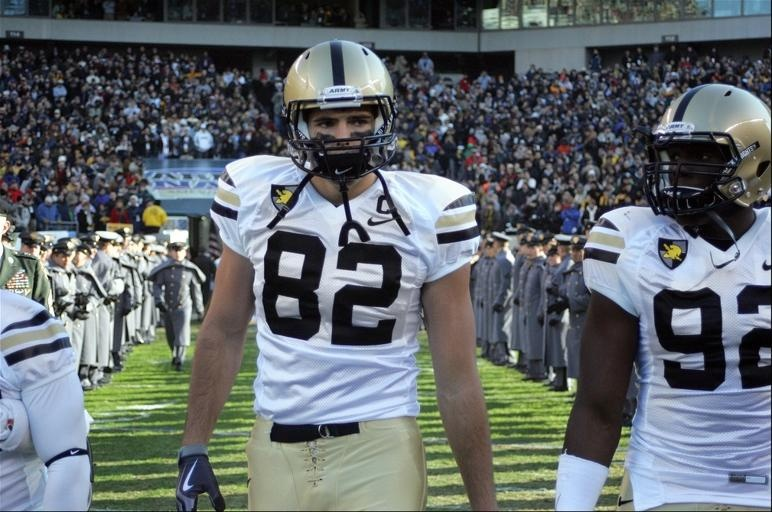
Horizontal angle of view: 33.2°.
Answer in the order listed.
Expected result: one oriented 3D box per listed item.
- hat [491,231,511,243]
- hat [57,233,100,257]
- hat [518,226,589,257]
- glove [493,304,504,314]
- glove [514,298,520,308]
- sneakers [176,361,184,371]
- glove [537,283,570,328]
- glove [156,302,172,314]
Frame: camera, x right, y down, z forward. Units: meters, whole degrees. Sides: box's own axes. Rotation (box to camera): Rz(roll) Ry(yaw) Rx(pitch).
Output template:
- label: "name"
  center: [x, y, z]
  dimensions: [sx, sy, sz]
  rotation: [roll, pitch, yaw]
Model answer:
- label: "hat"
  center: [1.628, -0.279, 18.357]
  dimensions: [0.273, 0.103, 0.282]
  rotation: [24, 4, -23]
- label: "hat"
  center: [-4.059, -0.161, 17.126]
  dimensions: [0.358, 0.184, 0.440]
  rotation: [8, 2, -45]
- label: "hat"
  center: [2.234, -0.231, 17.485]
  dimensions: [0.667, 0.250, 0.561]
  rotation: [3, -3, -17]
- label: "glove"
  center: [1.531, 0.706, 17.458]
  dimensions: [0.095, 0.092, 0.117]
  rotation: [23, 14, -3]
- label: "glove"
  center: [1.727, 0.603, 17.064]
  dimensions: [0.058, 0.075, 0.076]
  rotation: [16, 0, -35]
- label: "sneakers"
  center: [-2.736, 1.451, 17.154]
  dimensions: [0.050, 0.145, 0.065]
  rotation: [-5, 8, 3]
- label: "glove"
  center: [2.030, 0.585, 15.554]
  dimensions: [0.179, 0.439, 0.448]
  rotation: [33, 40, 27]
- label: "glove"
  center: [-2.983, 0.684, 17.314]
  dimensions: [0.113, 0.051, 0.156]
  rotation: [33, -14, -25]
